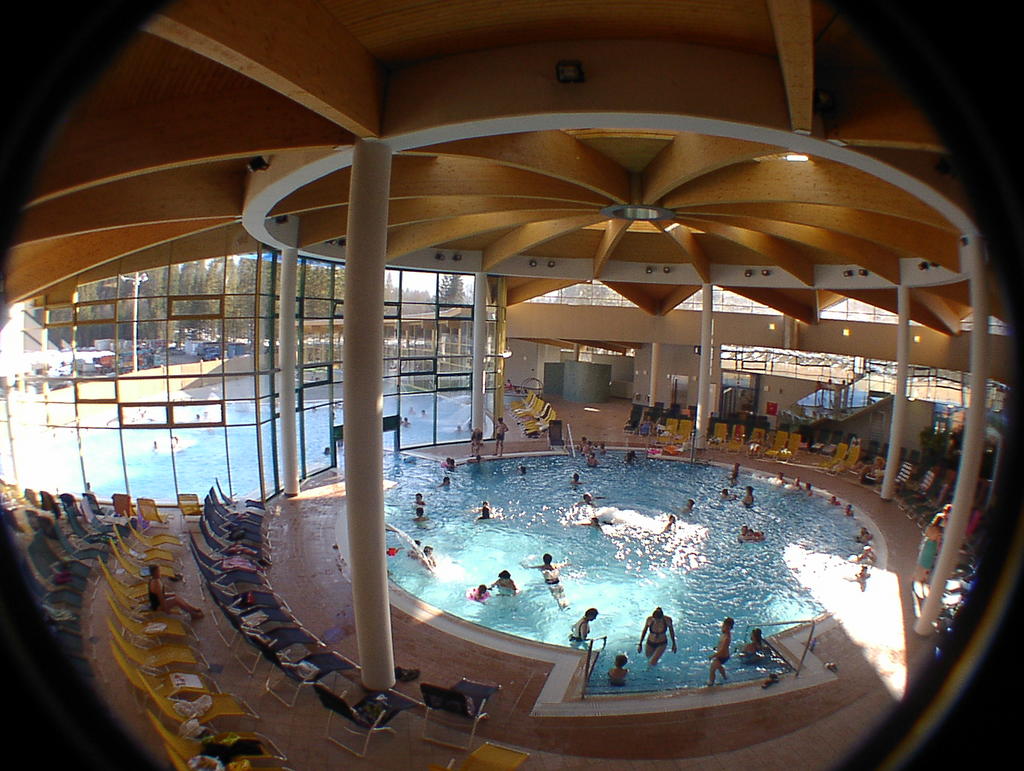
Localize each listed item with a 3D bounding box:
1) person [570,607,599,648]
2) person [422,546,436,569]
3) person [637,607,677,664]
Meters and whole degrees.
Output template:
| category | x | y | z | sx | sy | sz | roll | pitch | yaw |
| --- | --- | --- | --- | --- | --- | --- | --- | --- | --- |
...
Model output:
| category | x | y | z | sx | sy | sz | roll | pitch | yaw |
| --- | --- | --- | --- | --- | --- | --- | --- | --- | --- |
| person | 1.174 | 3.892 | 10.748 | 0.370 | 0.735 | 0.933 | 4 | 8 | 6 |
| person | -1.739 | 3.632 | 13.576 | 0.260 | 0.120 | 0.742 | 6 | 5 | -6 |
| person | 2.286 | 4.132 | 10.189 | 0.630 | 1.192 | 0.376 | 0 | -2 | 5 |
